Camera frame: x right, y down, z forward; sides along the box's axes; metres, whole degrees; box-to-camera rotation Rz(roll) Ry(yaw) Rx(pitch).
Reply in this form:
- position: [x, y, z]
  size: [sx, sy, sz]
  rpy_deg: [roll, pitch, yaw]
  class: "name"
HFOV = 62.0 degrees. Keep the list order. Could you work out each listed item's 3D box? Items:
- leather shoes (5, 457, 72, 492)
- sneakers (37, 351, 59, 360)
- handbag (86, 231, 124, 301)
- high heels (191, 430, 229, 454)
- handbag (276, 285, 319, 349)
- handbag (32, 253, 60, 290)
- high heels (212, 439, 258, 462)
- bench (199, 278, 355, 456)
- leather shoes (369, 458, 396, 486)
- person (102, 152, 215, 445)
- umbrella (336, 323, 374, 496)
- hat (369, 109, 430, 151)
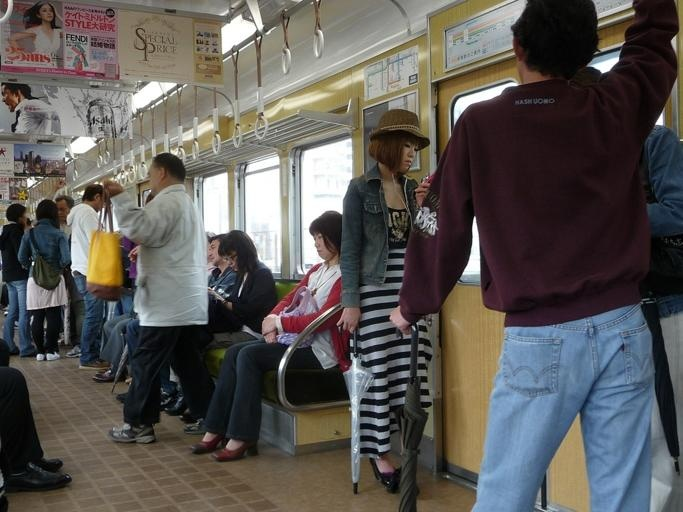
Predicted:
- position: [-1.894, 1.384, 3.609]
  size: [0.399, 0.184, 0.147]
  rpy_deg: [-1, -2, -16]
  class: "leather shoes"
- position: [-3.940, 1.342, 7.728]
  size: [0.308, 0.134, 0.115]
  rpy_deg: [-1, -3, -24]
  class: "sneakers"
- position: [-1.735, 0.068, 4.183]
  size: [0.234, 0.509, 0.268]
  rpy_deg: [-1, 1, -25]
  class: "handbag"
- position: [-0.961, 1.383, 4.209]
  size: [0.105, 0.127, 0.291]
  rpy_deg: [-8, -12, 42]
  class: "high heels"
- position: [-0.305, 0.457, 4.088]
  size: [0.290, 0.353, 0.183]
  rpy_deg: [27, -29, -34]
  class: "handbag"
- position: [-3.914, 0.211, 7.538]
  size: [0.227, 0.442, 0.265]
  rpy_deg: [-15, -25, 0]
  class: "handbag"
- position: [-0.754, 1.386, 4.064]
  size: [0.300, 0.138, 0.112]
  rpy_deg: [5, -6, -24]
  class: "high heels"
- position: [-0.626, 0.778, 4.270]
  size: [0.640, 1.117, 0.953]
  rpy_deg: [-6, -5, 36]
  class: "bench"
- position: [0.268, 1.372, 3.576]
  size: [0.079, 0.092, 0.220]
  rpy_deg: [32, -6, -38]
  class: "leather shoes"
- position: [-1.476, 0.279, 4.455]
  size: [0.746, 2.182, 0.912]
  rpy_deg: [0, 0, 41]
  class: "person"
- position: [0.097, 0.953, 3.473]
  size: [0.173, 0.979, 0.365]
  rpy_deg: [0, 1, -8]
  class: "umbrella"
- position: [0.348, -0.732, 3.383]
  size: [0.262, 0.150, 0.249]
  rpy_deg: [-4, -5, 21]
  class: "hat"
